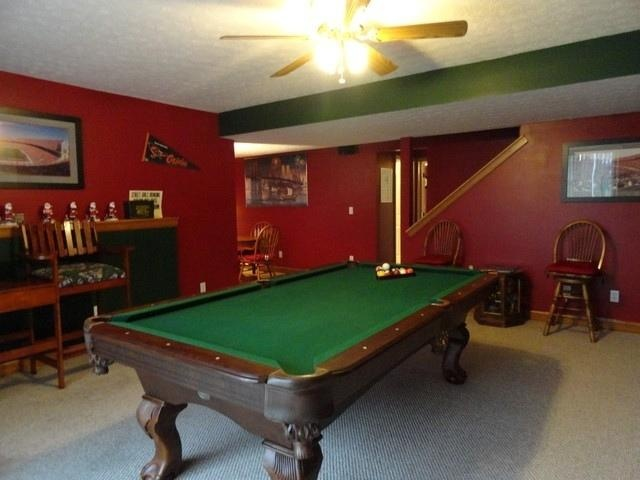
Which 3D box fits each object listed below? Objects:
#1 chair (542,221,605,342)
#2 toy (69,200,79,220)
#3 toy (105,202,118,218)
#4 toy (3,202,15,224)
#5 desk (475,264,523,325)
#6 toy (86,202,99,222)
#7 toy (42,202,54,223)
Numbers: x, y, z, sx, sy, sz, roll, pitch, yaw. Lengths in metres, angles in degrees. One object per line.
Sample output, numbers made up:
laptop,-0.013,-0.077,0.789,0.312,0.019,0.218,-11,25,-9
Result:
chair,2.673,0.398,5.072,0.534,1.134,0.695,7,16,28
toy,-2.400,-0.278,4.712,0.104,0.180,0.235,-7,15,-25
toy,-2.157,-0.306,5.021,0.114,0.174,0.219,-7,15,-22
toy,-2.768,-0.240,4.331,0.041,0.176,0.097,5,12,34
desk,1.818,0.586,4.947,0.499,0.547,0.586,4,7,35
toy,-2.249,-0.273,4.809,0.111,0.187,0.368,-7,15,-25
toy,-2.539,-0.256,4.529,0.099,0.169,0.244,-9,16,-28
